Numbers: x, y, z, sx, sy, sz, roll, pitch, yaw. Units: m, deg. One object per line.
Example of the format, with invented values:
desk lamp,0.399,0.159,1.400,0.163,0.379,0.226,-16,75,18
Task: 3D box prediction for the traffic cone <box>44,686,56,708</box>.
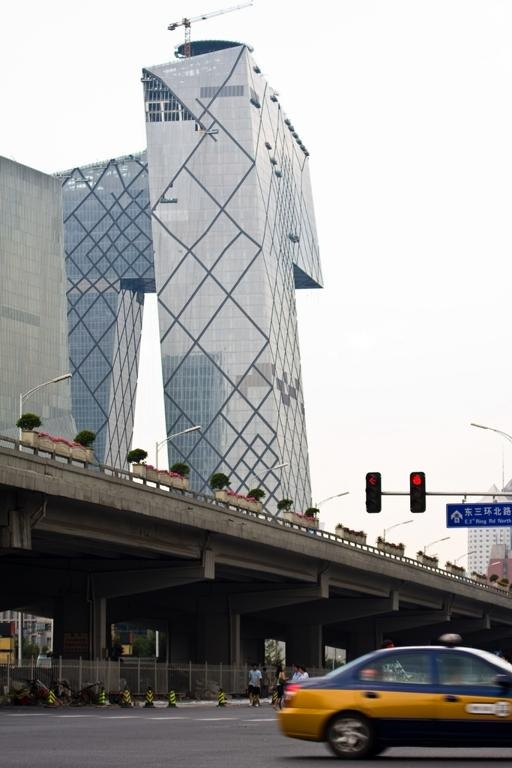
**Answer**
traffic cone,-6.395,9.788,52.111,0.486,0.678,0.571,0,-22,-3
